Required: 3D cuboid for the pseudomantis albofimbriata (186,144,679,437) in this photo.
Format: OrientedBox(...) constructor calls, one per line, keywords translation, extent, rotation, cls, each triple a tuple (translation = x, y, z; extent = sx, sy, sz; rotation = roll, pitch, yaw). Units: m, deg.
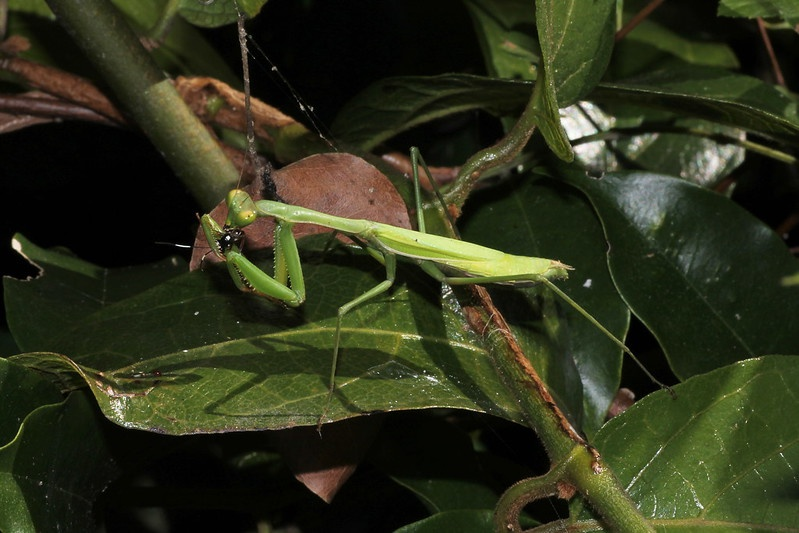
OrientedBox(translation=(0.002, 0.015, 1.305), extent=(0.532, 0.214, 0.395), rotation=(-5, 33, -8), cls="pseudomantis albofimbriata")
